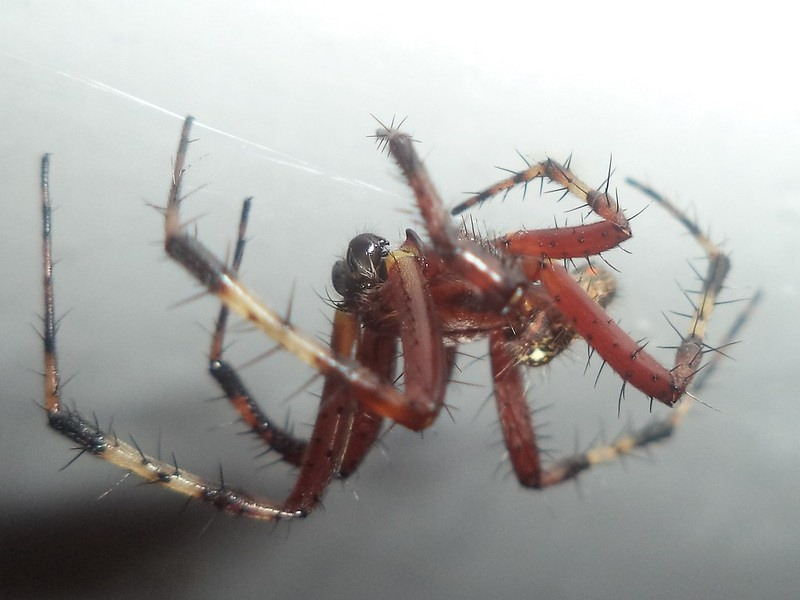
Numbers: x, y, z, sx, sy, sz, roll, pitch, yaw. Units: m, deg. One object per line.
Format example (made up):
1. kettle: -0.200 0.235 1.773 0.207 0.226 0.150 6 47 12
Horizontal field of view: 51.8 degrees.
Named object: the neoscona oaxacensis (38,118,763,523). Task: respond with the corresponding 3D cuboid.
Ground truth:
1. neoscona oaxacensis: 0.013 0.020 2.204 1.917 0.954 0.750 7 25 -2
